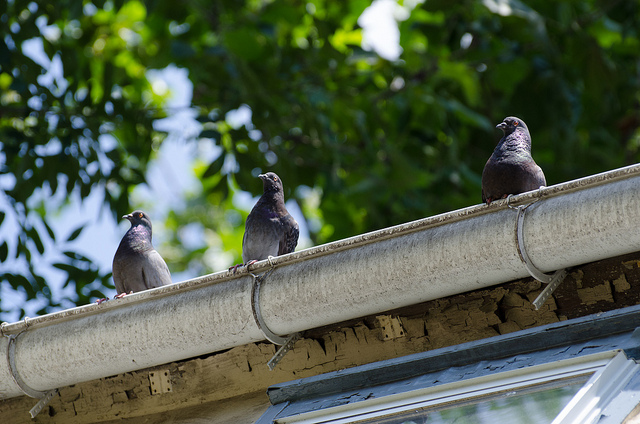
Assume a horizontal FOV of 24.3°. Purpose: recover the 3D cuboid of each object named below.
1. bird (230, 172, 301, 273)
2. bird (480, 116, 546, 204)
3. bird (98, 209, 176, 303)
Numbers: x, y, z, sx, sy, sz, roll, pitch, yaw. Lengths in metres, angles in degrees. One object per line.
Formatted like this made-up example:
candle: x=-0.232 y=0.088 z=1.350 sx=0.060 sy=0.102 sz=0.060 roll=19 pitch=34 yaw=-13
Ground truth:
bird: x=-0.483 y=0.059 z=12.969 sx=0.525 sy=0.791 sz=0.307 roll=-13 pitch=2 yaw=-10
bird: x=1.513 y=-0.414 z=12.137 sx=0.436 sy=0.629 sz=0.690 roll=-11 pitch=3 yaw=44
bird: x=-1.538 y=0.358 z=12.890 sx=0.448 sy=0.742 sz=0.499 roll=-12 pitch=2 yaw=18
